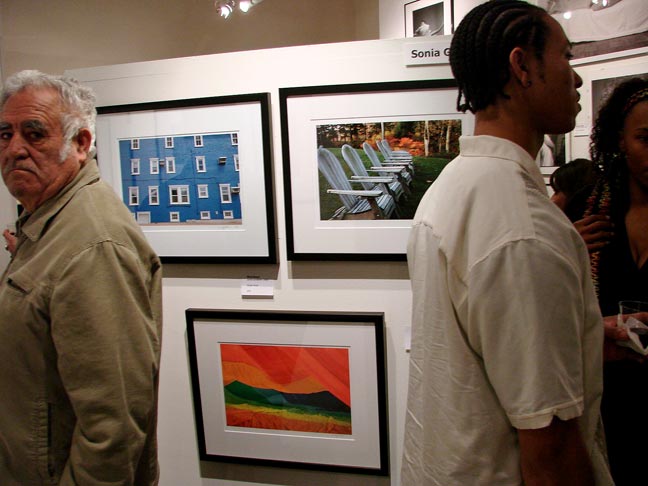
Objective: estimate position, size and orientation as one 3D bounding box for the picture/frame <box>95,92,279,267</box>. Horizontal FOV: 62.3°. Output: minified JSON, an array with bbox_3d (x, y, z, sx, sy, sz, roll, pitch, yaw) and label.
[{"bbox_3d":[-0.552,-0.290,2.299,0.718,0.650,0.030,-1,3,5],"label":"picture/frame"}]

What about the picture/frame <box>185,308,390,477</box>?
[{"bbox_3d":[-0.130,0.650,2.415,0.745,0.652,0.031,0,8,11],"label":"picture/frame"}]
